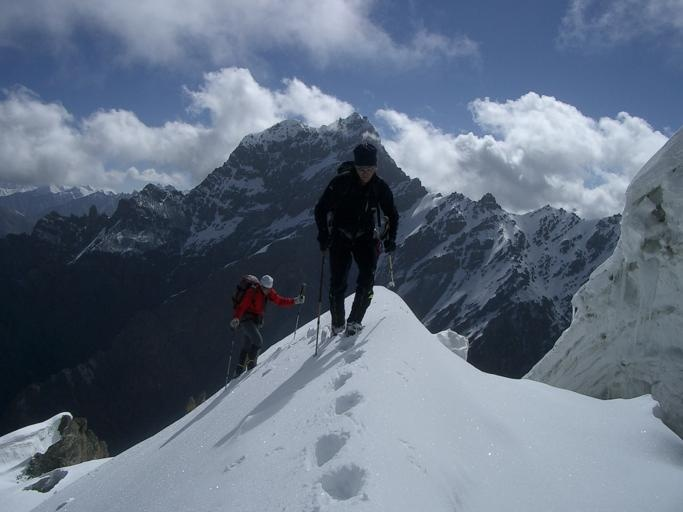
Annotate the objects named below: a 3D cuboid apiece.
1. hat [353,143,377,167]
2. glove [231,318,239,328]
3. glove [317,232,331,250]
[{"bbox_3d":[0.626,-2.694,14.962,0.607,0.652,0.705,-1,-3,2],"label":"hat"},{"bbox_3d":[-3.576,2.195,18.862,0.227,0.294,0.727,-1,-3,-4],"label":"glove"},{"bbox_3d":[-0.532,-0.416,15.619,0.400,0.606,0.393,0,-5,-4],"label":"glove"}]
